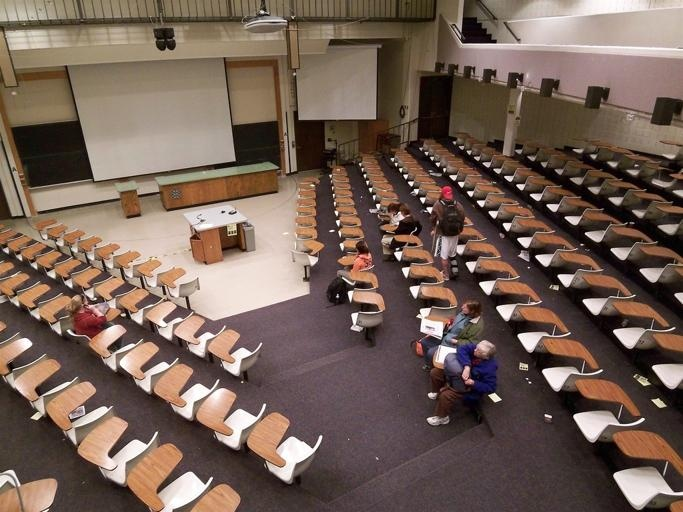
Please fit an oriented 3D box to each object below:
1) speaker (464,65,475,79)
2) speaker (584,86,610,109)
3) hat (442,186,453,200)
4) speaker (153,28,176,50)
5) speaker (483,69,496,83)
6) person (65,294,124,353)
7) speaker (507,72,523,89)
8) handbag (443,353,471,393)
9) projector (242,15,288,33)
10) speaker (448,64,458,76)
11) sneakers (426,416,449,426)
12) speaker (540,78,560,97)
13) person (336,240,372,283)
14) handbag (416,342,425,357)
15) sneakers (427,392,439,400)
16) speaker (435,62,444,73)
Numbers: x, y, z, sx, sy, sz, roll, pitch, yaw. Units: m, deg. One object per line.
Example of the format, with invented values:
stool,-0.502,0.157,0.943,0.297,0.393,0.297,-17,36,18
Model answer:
speaker,4.052,-5.847,14.016,0.348,0.422,0.371,-1,26,2
speaker,5.177,-3.235,8.941,0.476,0.407,0.316,-15,30,-24
hat,2.276,-1.354,9.539,0.236,0.138,0.371,-3,47,-4
speaker,-4.968,-6.075,12.413,0.514,0.751,0.264,-10,2,-11
speaker,4.263,-5.311,12.945,0.420,0.471,0.243,-3,21,-5
person,-4.657,1.322,8.263,0.411,0.944,0.564,30,47,15
speaker,4.591,-4.619,11.569,0.398,0.413,0.166,-11,31,-18
handbag,1.745,1.811,6.731,0.330,0.476,0.163,4,-14,-16
projector,-1.578,-4.837,9.175,0.749,0.309,0.922,-11,30,-18
speaker,3.750,-6.355,14.930,0.407,0.307,0.344,18,33,33
sneakers,1.509,2.597,6.916,0.342,0.160,0.147,1,37,-3
speaker,5.015,-3.936,10.324,0.472,0.519,0.343,-13,22,-25
person,0.296,0.159,9.806,0.490,0.784,0.570,-29,48,-32
handbag,1.457,1.732,8.084,0.082,0.223,0.145,6,-5,-41
sneakers,1.509,2.328,7.243,0.067,0.099,0.157,11,-17,-38
speaker,3.550,-6.776,15.800,0.348,0.308,0.657,4,28,10
